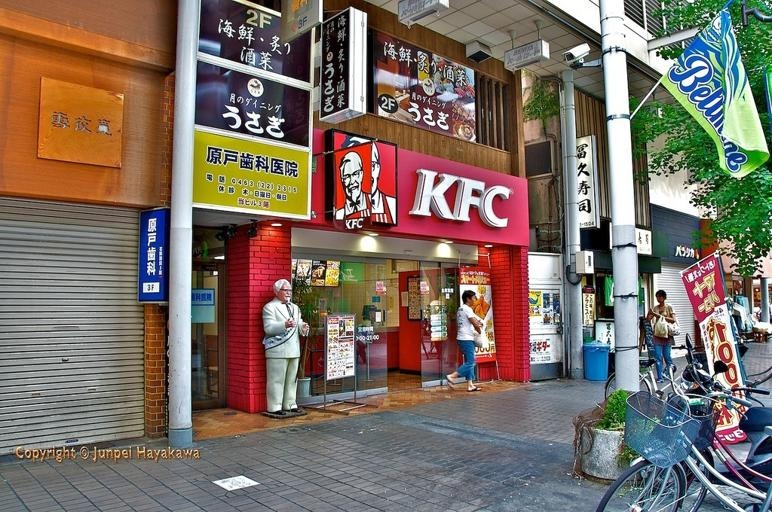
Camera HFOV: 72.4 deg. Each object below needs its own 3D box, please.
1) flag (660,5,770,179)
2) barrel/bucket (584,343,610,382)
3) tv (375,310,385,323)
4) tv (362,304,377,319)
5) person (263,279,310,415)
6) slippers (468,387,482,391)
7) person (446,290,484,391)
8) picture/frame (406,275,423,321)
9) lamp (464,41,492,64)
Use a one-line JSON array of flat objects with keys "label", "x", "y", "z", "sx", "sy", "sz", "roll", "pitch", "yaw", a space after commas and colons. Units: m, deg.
[{"label": "flag", "x": 4.995, "y": -2.481, "z": 7.965, "sx": 1.220, "sy": 2.541, "sz": 0.508, "roll": 0, "pitch": 0, "yaw": 35}, {"label": "barrel/bucket", "x": 5.309, "y": 2.676, "z": 13.361, "sx": 0.797, "sy": 0.993, "sz": 0.796, "roll": 1, "pitch": -9, "yaw": 0}, {"label": "tv", "x": -0.128, "y": 1.278, "z": 11.333, "sx": 0.218, "sy": 0.300, "sz": 0.307, "roll": -5, "pitch": -8, "yaw": 35}, {"label": "tv", "x": -0.340, "y": 1.174, "z": 11.104, "sx": 0.034, "sy": 0.328, "sz": 0.413, "roll": 0, "pitch": -1, "yaw": 44}, {"label": "person", "x": -1.831, "y": 1.625, "z": 9.422, "sx": 0.740, "sy": 2.405, "sz": 0.458, "roll": 0, "pitch": 0, "yaw": -13}, {"label": "slippers", "x": 1.925, "y": 2.892, "z": 11.520, "sx": 0.233, "sy": 0.083, "sz": 0.123, "roll": -1, "pitch": -4, "yaw": 3}, {"label": "person", "x": 1.712, "y": 1.840, "z": 11.436, "sx": 0.672, "sy": 2.185, "sz": 0.634, "roll": 0, "pitch": 0, "yaw": 15}, {"label": "picture/frame", "x": 0.647, "y": 0.962, "z": 12.149, "sx": 0.346, "sy": 1.024, "sz": 0.087, "roll": 0, "pitch": 0, "yaw": 11}, {"label": "lamp", "x": 2.180, "y": -4.768, "z": 12.513, "sx": 0.436, "sy": 0.394, "sz": 0.610, "roll": -15, "pitch": -19, "yaw": 32}]
